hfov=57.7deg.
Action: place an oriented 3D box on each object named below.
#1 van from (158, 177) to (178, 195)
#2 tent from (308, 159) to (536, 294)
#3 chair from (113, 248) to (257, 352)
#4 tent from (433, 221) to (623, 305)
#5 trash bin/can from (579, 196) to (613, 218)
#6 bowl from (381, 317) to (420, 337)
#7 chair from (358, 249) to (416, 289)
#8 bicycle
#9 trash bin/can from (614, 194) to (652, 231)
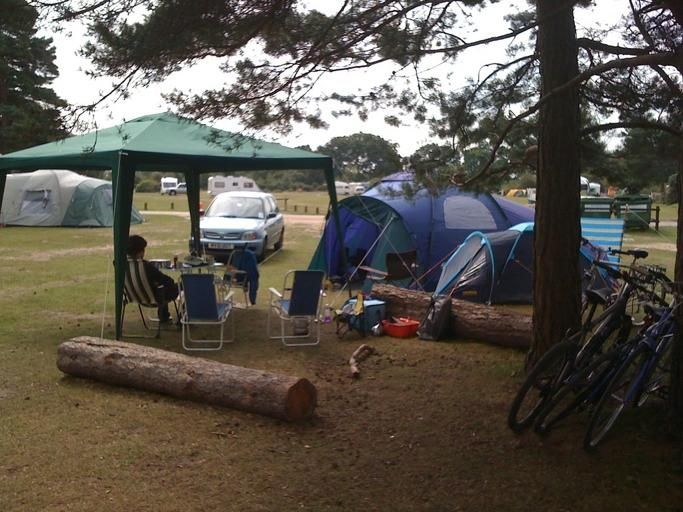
[{"bbox_3d":[-15.009,-6.156,54.183,1.772,1.669,1.788,-1,7,-7],"label":"van"},{"bbox_3d":[1.292,-0.503,11.703,2.637,1.385,3.134,-2,3,-3],"label":"tent"},{"bbox_3d":[-2.200,0.628,8.824,1.078,1.267,1.877,1,1,6],"label":"chair"},{"bbox_3d":[2.599,0.160,10.039,2.087,0.727,1.622,-1,5,-12],"label":"tent"},{"bbox_3d":[9.672,-1.819,23.600,1.128,0.712,1.193,6,14,22],"label":"trash bin/can"},{"bbox_3d":[0.791,1.027,8.993,0.290,0.137,0.350,-4,8,-38],"label":"bowl"},{"bbox_3d":[0.847,0.262,10.536,0.768,0.945,0.687,-2,12,-20],"label":"chair"},{"bbox_3d":[2.566,0.862,6.212,2.299,1.357,1.123,-9,14,-43],"label":"bicycle"},{"bbox_3d":[11.275,-1.626,24.052,1.870,1.395,1.238,-5,14,-21],"label":"trash bin/can"}]
